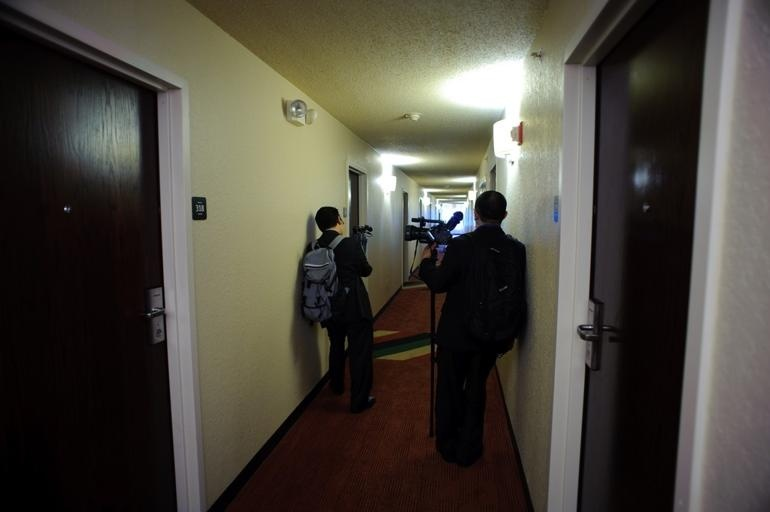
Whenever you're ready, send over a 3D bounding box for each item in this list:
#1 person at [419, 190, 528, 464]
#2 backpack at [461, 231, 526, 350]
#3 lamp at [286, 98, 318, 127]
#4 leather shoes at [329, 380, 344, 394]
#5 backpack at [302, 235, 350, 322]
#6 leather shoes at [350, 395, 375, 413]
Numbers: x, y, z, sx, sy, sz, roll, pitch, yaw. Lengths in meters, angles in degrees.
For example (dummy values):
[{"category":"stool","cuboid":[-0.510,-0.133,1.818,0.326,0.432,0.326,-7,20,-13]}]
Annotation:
[{"category":"person","cuboid":[0.558,0.472,3.620,0.761,1.822,0.730,8,7,19]},{"category":"backpack","cuboid":[0.684,0.187,3.328,0.360,0.612,0.343,3,12,9]},{"category":"lamp","cuboid":[-0.626,-1.071,4.001,0.147,0.186,0.415,3,13,6]},{"category":"leather shoes","cuboid":[-0.403,1.097,4.450,0.135,0.147,0.071,-1,16,-7]},{"category":"backpack","cuboid":[-0.477,0.191,4.099,0.333,0.678,0.250,0,12,-6]},{"category":"leather shoes","cuboid":[-0.174,1.149,4.214,0.073,0.105,0.230,6,12,32]}]
